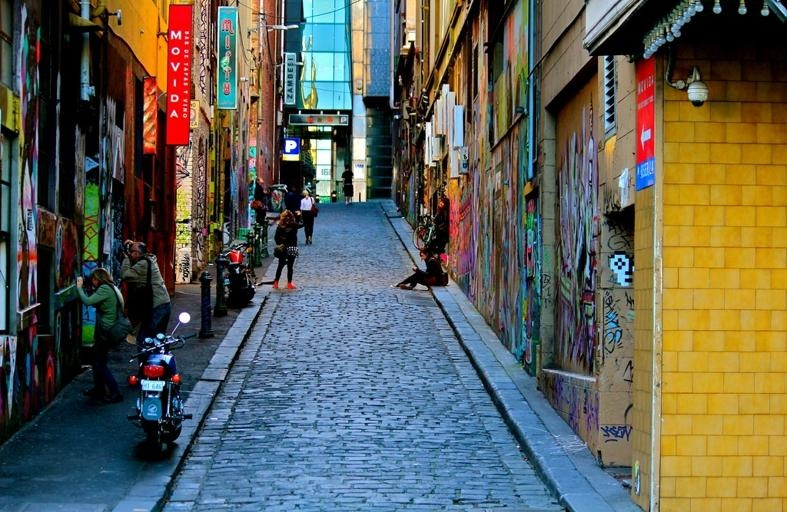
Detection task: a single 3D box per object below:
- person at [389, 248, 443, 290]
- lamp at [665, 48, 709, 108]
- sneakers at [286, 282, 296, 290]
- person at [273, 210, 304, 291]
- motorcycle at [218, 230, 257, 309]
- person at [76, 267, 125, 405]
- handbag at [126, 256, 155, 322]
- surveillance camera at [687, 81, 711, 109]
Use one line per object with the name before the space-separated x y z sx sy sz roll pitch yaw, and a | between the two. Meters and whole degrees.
person | 0.878 0.247 26.915 1.323 1.107 0.668 4 33 18
lamp | 3.295 -2.046 10.888 0.442 0.714 0.210 1 -3 16
sneakers | -2.780 0.773 26.125 0.109 0.242 0.314 3 15 17
person | -2.936 -0.217 26.257 0.643 2.114 0.989 0 8 -8
motorcycle | -3.971 0.478 23.810 0.970 1.233 1.913 -5 10 2
person | -4.578 1.225 15.159 0.691 2.035 0.664 -2 8 -19
handbag | -4.270 0.548 16.380 0.494 1.081 0.426 5 -4 -34
surveillance camera | 3.402 -1.809 10.765 0.231 0.313 0.250 3 1 -1
